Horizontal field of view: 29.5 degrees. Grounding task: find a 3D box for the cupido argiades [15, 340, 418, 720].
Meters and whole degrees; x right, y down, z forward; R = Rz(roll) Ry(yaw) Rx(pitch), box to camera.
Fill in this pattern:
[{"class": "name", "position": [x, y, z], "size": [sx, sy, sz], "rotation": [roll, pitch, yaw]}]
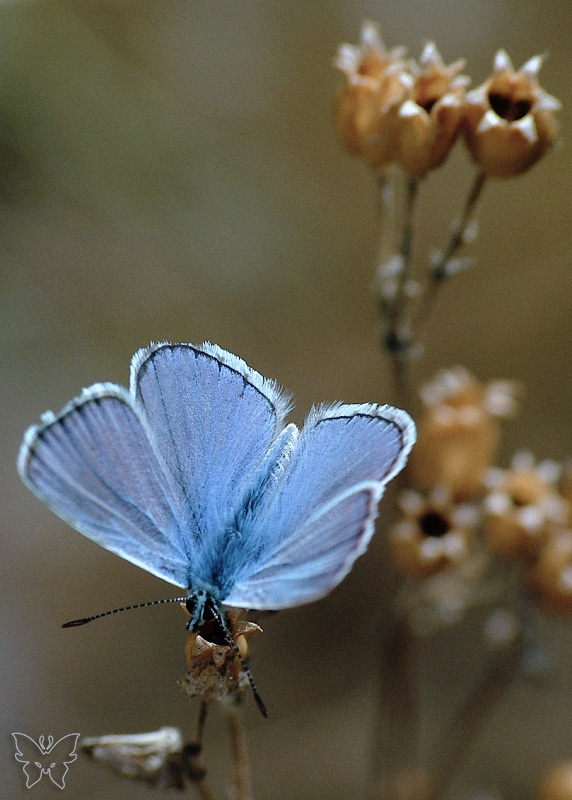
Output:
[{"class": "cupido argiades", "position": [-0.076, 0.177, 1.017], "size": [0.316, 0.146, 0.256], "rotation": [10, -18, 9]}]
